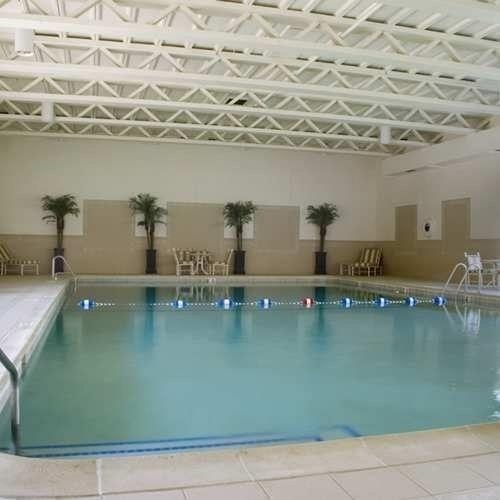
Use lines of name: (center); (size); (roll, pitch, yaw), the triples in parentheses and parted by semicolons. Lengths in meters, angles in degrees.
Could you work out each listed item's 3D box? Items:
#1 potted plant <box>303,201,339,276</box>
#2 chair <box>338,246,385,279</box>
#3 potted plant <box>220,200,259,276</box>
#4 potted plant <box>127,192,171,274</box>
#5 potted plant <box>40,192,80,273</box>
potted plant: (2.987, -0.452, 16.604); (1.827, 3.004, 1.914); (2, -10, 10)
chair: (4.782, 0.543, 16.856); (1.398, 1.288, 1.239); (-1, -2, 38)
potted plant: (-0.450, -0.516, 15.817); (1.275, 2.213, 0.823); (1, 0, -5)
potted plant: (-3.824, -0.615, 15.045); (1.328, 3.035, 0.811); (1, 0, -15)
potted plant: (-6.882, -0.610, 14.375); (1.251, 2.878, 0.732); (1, 0, -18)
